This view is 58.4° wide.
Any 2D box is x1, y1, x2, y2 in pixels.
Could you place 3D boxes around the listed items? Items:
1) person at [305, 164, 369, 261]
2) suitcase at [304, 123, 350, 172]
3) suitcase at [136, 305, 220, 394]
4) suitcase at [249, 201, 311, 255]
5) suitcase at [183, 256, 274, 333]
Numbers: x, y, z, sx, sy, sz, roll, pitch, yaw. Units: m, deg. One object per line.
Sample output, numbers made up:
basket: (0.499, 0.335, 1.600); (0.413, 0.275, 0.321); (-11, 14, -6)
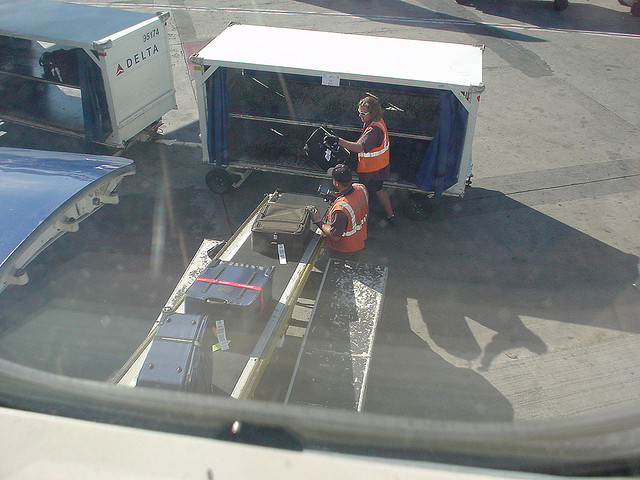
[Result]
person: (0.247, -0.303, 7.113); (0.554, 1.204, 0.752); (27, 49, 26)
suitcase: (0.110, -1.359, 8.627); (0.521, 0.582, 0.418); (33, 51, 32)
suitcase: (-1.146, 0.917, 4.772); (0.711, 0.959, 0.480); (10, 80, -1)
suitcase: (-0.492, -0.120, 6.859); (0.662, 0.303, 0.725); (5, 37, 6)
suitcase: (-0.895, 0.555, 5.782); (0.728, 0.377, 0.824); (10, 38, 13)
